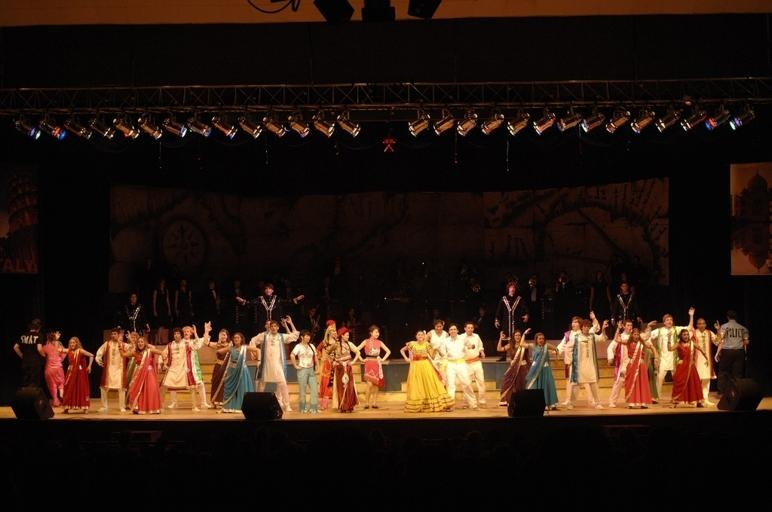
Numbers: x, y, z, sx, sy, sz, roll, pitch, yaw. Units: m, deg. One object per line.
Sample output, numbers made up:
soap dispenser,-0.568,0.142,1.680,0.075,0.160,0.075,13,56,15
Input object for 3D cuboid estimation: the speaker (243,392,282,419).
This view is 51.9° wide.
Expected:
speaker,-2.248,2.667,14.241,0.567,0.522,0.480,0,36,8

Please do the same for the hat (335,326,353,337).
hat,-0.860,1.445,15.247,0.216,0.142,0.281,-3,-7,-24

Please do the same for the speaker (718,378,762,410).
speaker,6.473,2.553,14.609,0.511,0.626,0.704,5,0,-8

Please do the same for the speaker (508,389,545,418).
speaker,2.467,2.522,14.016,0.575,0.511,0.476,-1,-4,-14

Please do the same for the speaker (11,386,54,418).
speaker,-6.472,2.708,14.545,0.584,0.585,0.596,2,-40,-4
